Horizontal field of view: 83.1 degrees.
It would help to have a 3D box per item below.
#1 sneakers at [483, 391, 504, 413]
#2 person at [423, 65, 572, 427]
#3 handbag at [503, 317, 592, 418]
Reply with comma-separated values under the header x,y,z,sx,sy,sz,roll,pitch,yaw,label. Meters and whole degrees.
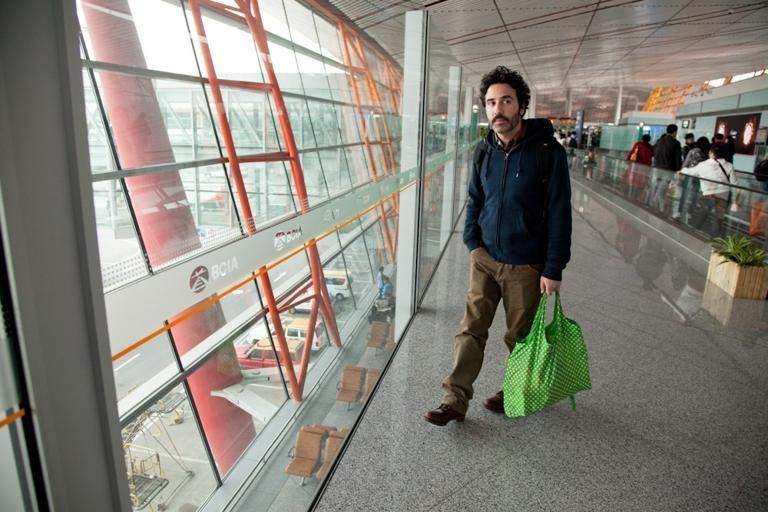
x,y,z,sx,sy,sz,roll,pitch,yaw,label
0.925,1.232,3.648,0.227,0.089,0.096,9,-4,17,sneakers
0.898,-0.065,3.395,1.044,2.670,0.832,-7,18,0,person
1.237,0.878,3.317,0.797,0.886,0.363,-10,14,-24,handbag
